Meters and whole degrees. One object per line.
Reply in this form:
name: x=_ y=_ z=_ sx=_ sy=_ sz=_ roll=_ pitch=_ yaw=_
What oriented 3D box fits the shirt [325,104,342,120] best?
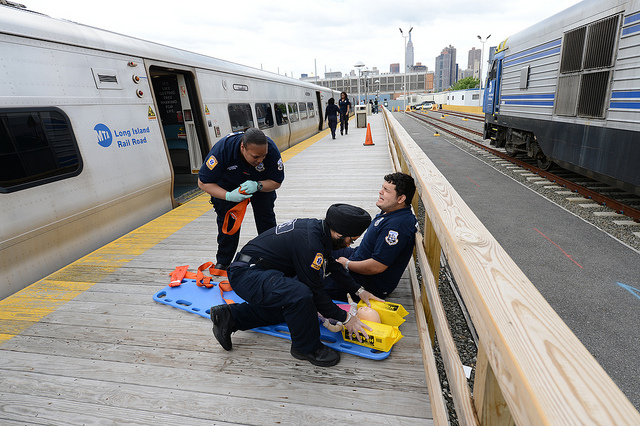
shirt: x=0.726 y=-4.942 z=16.159 sx=0.798 sy=0.491 sz=0.401 roll=-19 pitch=26 yaw=-37

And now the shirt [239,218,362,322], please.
shirt: x=-0.161 y=0.528 z=3.419 sx=1.384 sy=0.855 sz=1.021 roll=10 pitch=8 yaw=-11

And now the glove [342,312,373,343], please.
glove: x=0.374 y=1.112 z=3.229 sx=0.294 sy=0.193 sz=0.103 roll=16 pitch=-17 yaw=25

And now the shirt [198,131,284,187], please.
shirt: x=-1.066 y=-0.727 z=4.547 sx=1.158 sy=0.722 sz=0.542 roll=-10 pitch=37 yaw=-34

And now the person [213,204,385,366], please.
person: x=-0.216 y=0.624 z=3.225 sx=1.437 sy=1.336 sz=0.810 roll=1 pitch=22 yaw=12
